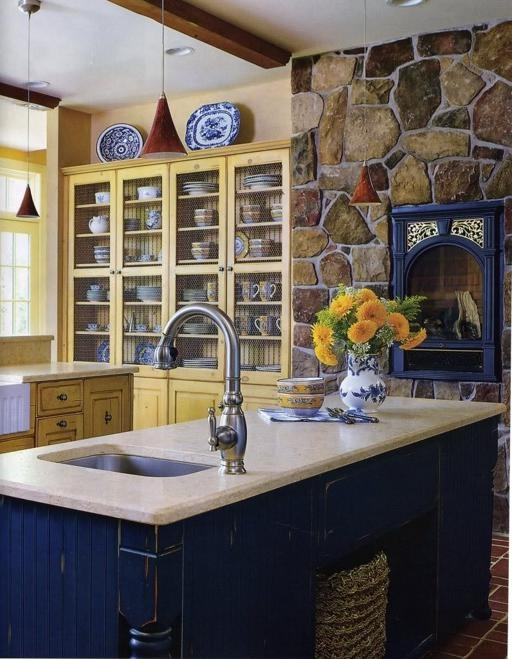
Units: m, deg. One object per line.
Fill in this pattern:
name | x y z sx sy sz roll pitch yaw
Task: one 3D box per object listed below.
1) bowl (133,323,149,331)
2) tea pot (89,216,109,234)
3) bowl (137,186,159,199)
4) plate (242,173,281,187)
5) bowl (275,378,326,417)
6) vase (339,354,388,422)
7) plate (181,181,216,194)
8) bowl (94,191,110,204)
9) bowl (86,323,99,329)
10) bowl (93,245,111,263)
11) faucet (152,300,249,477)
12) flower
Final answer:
bowl | -0.974 -0.009 5.057 0.071 0.044 0.078 0 -10 0
tea pot | -1.395 -0.914 5.260 0.187 0.171 0.142 1 3 13
bowl | -0.895 -1.108 4.969 0.142 0.085 0.139 1 8 0
plate | 0.034 -1.077 4.363 0.306 0.083 0.038 5 2 27
bowl | 0.150 0.231 2.030 0.141 0.101 0.126 2 -7 -23
vase | 0.395 0.202 2.225 0.171 0.206 0.168 -1 1 1
plate | -0.460 -1.097 4.675 0.343 0.080 0.047 6 2 35
bowl | -1.339 -1.142 5.228 0.126 0.087 0.128 0 -4 0
bowl | -1.462 -0.020 5.363 0.096 0.066 0.051 2 3 11
bowl | -1.356 -0.652 5.260 0.157 0.118 0.161 0 -3 0
faucet | -0.107 0.117 1.177 0.196 0.262 0.106 4 2 -1
flower | 0.386 -0.014 2.222 0.344 0.272 0.387 3 -3 -44
